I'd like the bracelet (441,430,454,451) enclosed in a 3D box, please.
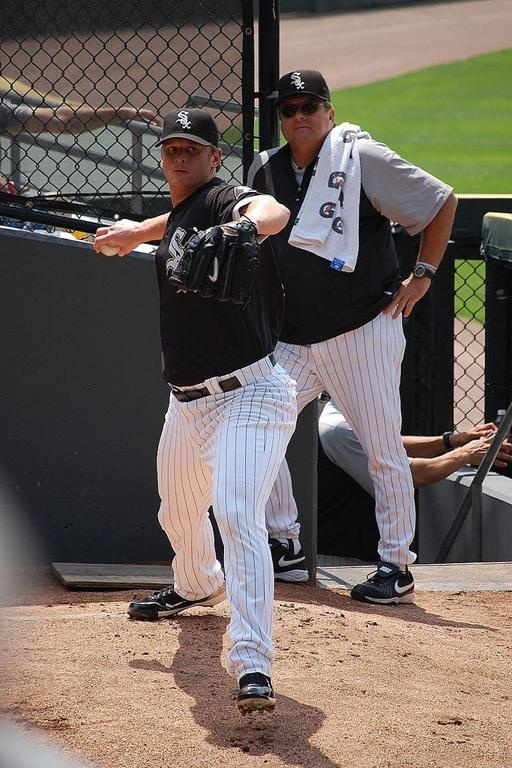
[{"bbox_3d":[1.011,0.308,4.912,0.072,0.100,0.109,-3,35,6],"label":"bracelet"}]

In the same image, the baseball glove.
[{"bbox_3d":[-0.081,-0.272,2.136,0.168,0.197,0.099,-13,0,8],"label":"baseball glove"}]

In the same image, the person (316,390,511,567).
[{"bbox_3d":[0.917,0.519,5.053,1.154,0.699,0.772,-11,-2,-4],"label":"person"}]

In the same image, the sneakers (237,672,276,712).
[{"bbox_3d":[-0.004,0.712,2.139,0.057,0.070,0.122,0,-20,0],"label":"sneakers"}]

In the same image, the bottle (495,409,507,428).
[{"bbox_3d":[1.304,0.184,4.931,0.046,0.106,0.080,7,8,16],"label":"bottle"}]

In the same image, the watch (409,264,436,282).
[{"bbox_3d":[0.616,-0.424,3.475,0.085,0.048,0.084,6,12,-39],"label":"watch"}]

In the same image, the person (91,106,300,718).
[{"bbox_3d":[-0.155,0.028,2.539,0.583,1.585,1.044,4,5,-11],"label":"person"}]

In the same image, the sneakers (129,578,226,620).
[{"bbox_3d":[-0.242,0.725,3.126,0.349,0.128,0.119,-4,1,-15],"label":"sneakers"}]

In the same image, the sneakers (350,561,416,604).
[{"bbox_3d":[0.488,0.747,3.514,0.248,0.122,0.127,2,-2,-27],"label":"sneakers"}]
